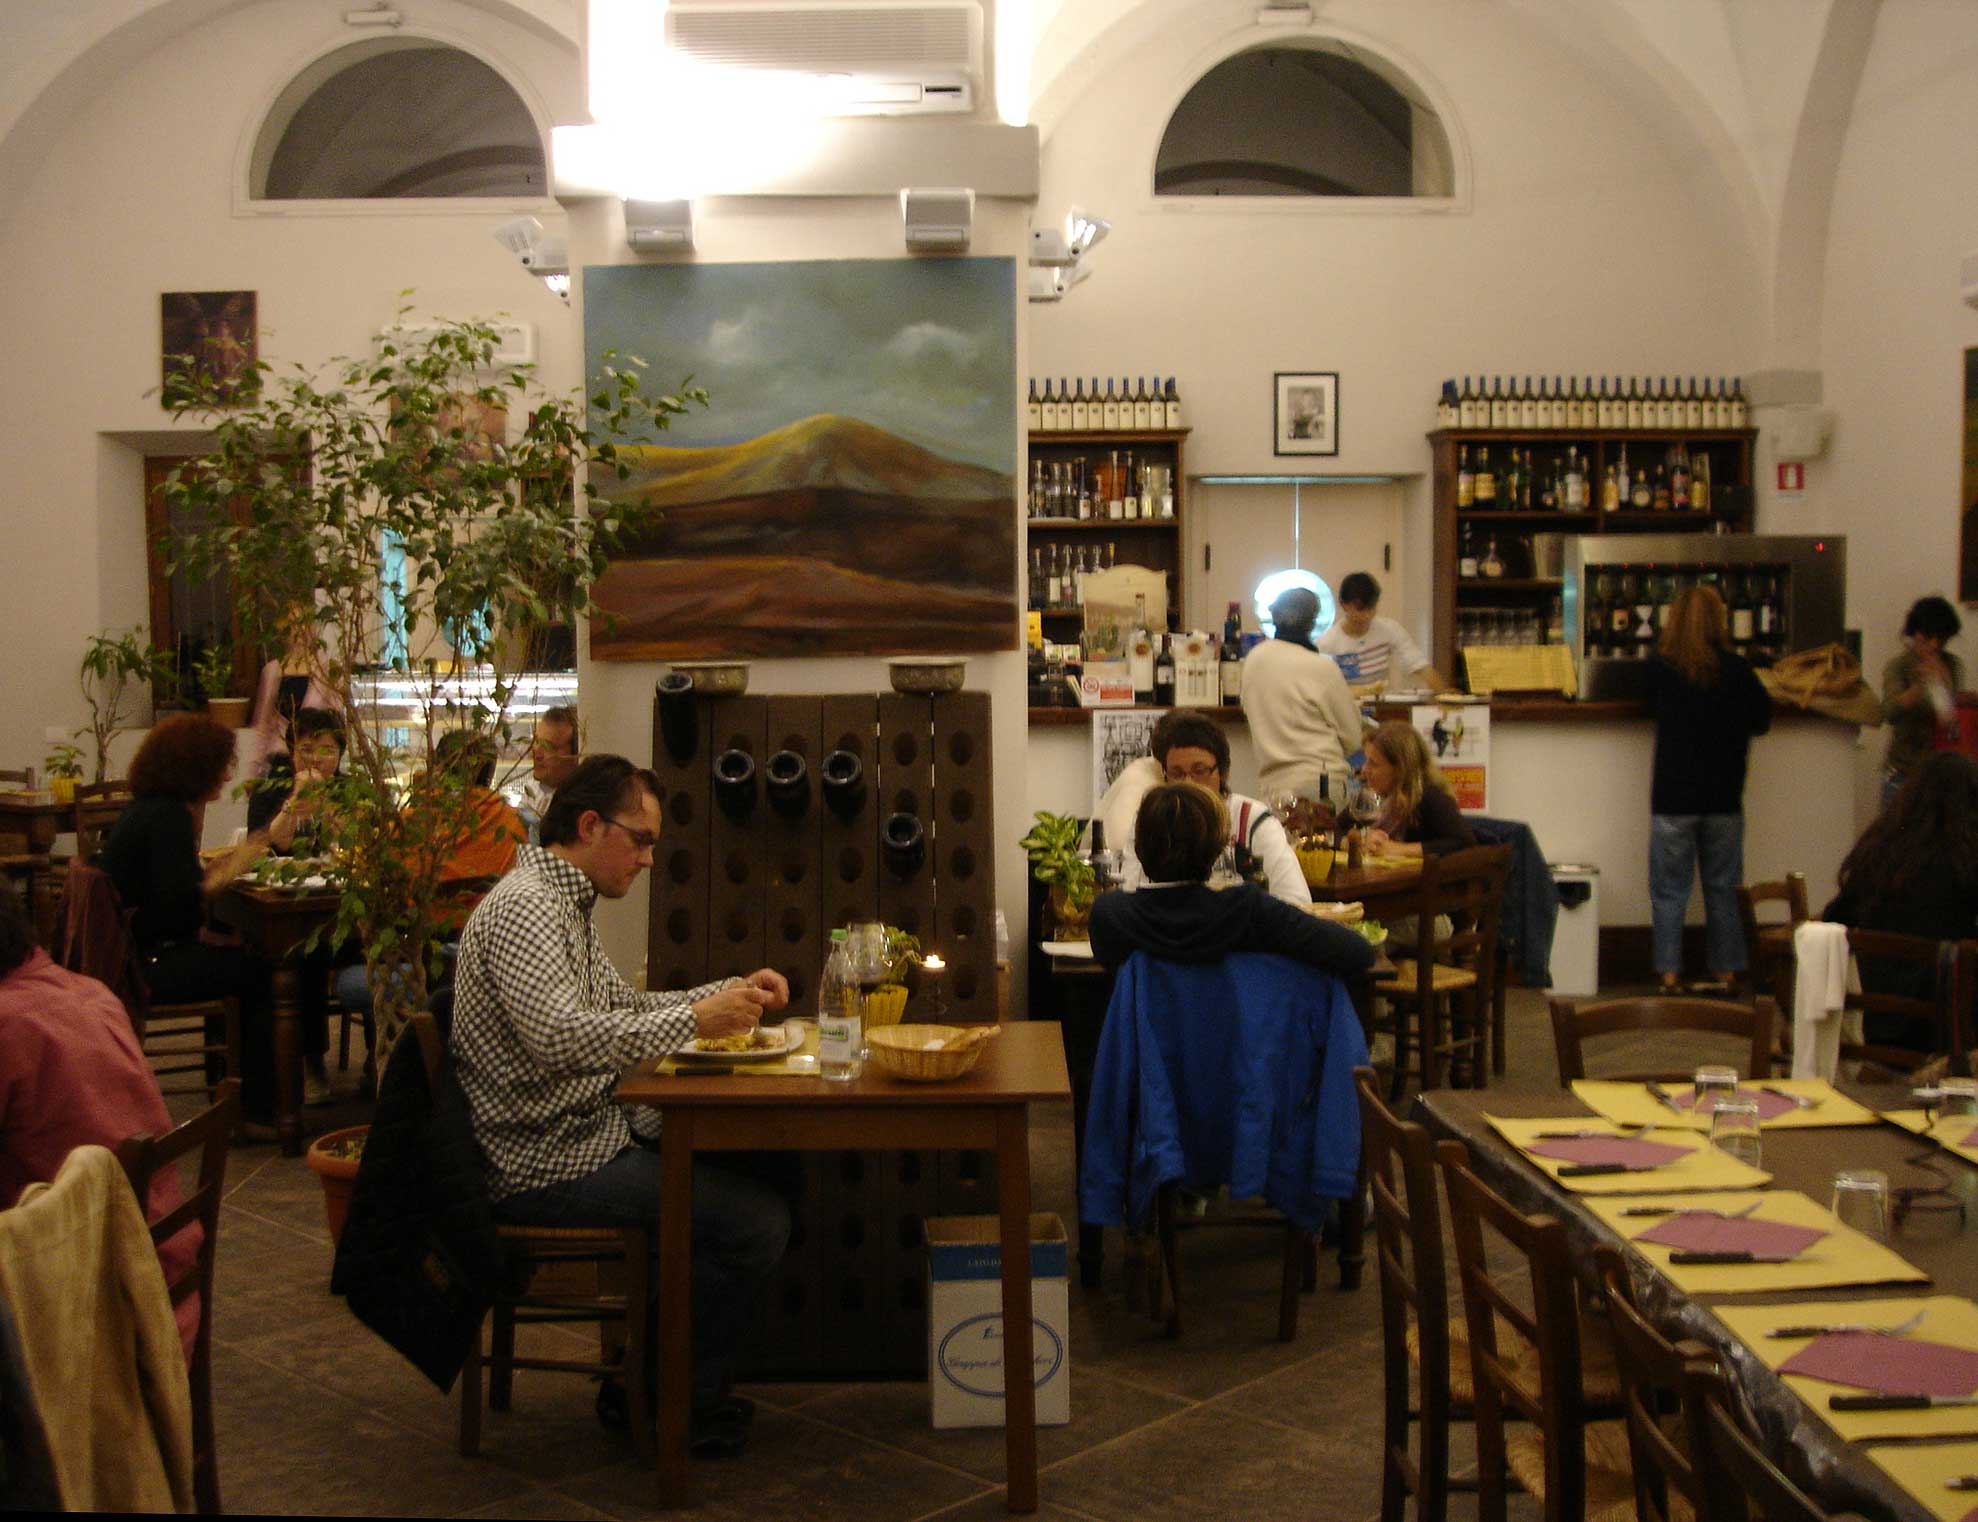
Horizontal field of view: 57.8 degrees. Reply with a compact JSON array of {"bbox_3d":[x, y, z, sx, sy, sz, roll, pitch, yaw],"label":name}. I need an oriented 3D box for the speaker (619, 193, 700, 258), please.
[{"bbox_3d":[-1.088,-1.766,5.892,0.161,0.193,0.131,-1,18,-2],"label":"speaker"}]

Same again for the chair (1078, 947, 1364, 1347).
[{"bbox_3d":[0.635,1.029,4.908,0.907,1.374,0.496,2,4,13],"label":"chair"}]

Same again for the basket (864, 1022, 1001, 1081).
[{"bbox_3d":[-0.145,0.648,4.072,0.307,0.127,0.249,0,7,4],"label":"basket"}]

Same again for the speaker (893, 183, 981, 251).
[{"bbox_3d":[-0.172,-1.787,5.887,0.225,0.182,0.177,0,8,0],"label":"speaker"}]

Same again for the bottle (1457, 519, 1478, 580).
[{"bbox_3d":[3.173,-1.391,11.710,0.174,0.424,0.269,3,7,29],"label":"bottle"}]

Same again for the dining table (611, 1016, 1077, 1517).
[{"bbox_3d":[-0.323,1.041,4.302,0.950,1.040,1.033,0,2,-1],"label":"dining table"}]

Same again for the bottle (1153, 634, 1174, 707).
[{"bbox_3d":[0.871,-0.457,8.952,0.096,0.343,0.140,0,6,5],"label":"bottle"}]

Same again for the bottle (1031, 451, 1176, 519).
[{"bbox_3d":[0.736,-1.777,11.540,0.928,0.466,0.339,0,6,3],"label":"bottle"}]

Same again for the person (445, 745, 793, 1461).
[{"bbox_3d":[-0.904,0.852,4.400,0.811,1.681,0.781,0,-7,-13],"label":"person"}]

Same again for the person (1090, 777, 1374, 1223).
[{"bbox_3d":[0.686,0.652,5.107,0.839,1.232,0.791,1,10,16],"label":"person"}]

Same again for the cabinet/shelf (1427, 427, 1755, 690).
[{"bbox_3d":[3.771,-1.283,11.176,1.579,1.708,0.486,0,-1,-2],"label":"cabinet/shelf"}]

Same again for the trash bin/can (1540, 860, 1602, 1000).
[{"bbox_3d":[3.070,0.890,9.380,0.244,0.708,0.617,2,6,21],"label":"trash bin/can"}]

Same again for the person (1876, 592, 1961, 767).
[{"bbox_3d":[5.202,-0.411,9.986,0.388,1.012,0.411,3,6,28],"label":"person"}]

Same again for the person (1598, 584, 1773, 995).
[{"bbox_3d":[3.680,0.150,9.241,0.562,2.066,0.308,2,6,23],"label":"person"}]

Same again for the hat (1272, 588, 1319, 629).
[{"bbox_3d":[1.444,-0.719,8.428,0.208,0.226,0.174,-8,14,-16],"label":"hat"}]

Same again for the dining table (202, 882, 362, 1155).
[{"bbox_3d":[-2.570,0.904,6.464,0.537,0.872,0.886,-3,10,-15],"label":"dining table"}]

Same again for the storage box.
[{"bbox_3d":[-0.029,1.359,4.639,0.413,0.656,0.464,-1,2,-6],"label":"storage box"}]

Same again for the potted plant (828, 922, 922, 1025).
[{"bbox_3d":[-0.251,0.534,4.377,0.243,0.314,0.258,1,3,3],"label":"potted plant"}]
